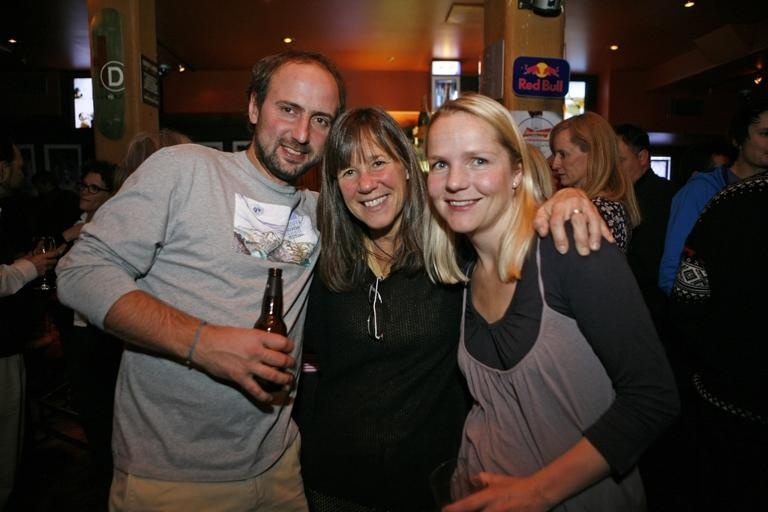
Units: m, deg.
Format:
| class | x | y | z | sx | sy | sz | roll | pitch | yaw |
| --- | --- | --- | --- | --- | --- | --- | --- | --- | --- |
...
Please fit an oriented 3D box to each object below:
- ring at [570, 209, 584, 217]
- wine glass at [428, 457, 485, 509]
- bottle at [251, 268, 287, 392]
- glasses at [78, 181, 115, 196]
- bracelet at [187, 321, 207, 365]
| class | x | y | z | sx | sy | sz | roll | pitch | yaw |
| --- | --- | --- | --- | --- | --- | --- | --- | --- | --- |
| ring | 0.892 | -0.204 | 2.556 | 0.050 | 0.026 | 0.035 | 5 | 14 | 5 |
| wine glass | 0.347 | 1.062 | 2.637 | 0.229 | 0.192 | 0.258 | -11 | -15 | 6 |
| bottle | -0.580 | 0.369 | 2.812 | 0.161 | 0.659 | 0.274 | 0 | 14 | -14 |
| glasses | -2.485 | -0.564 | 4.809 | 0.169 | 0.050 | 0.172 | 8 | 3 | 10 |
| bracelet | -0.905 | 0.412 | 2.675 | 0.045 | 0.179 | 0.092 | 9 | 15 | 24 |
